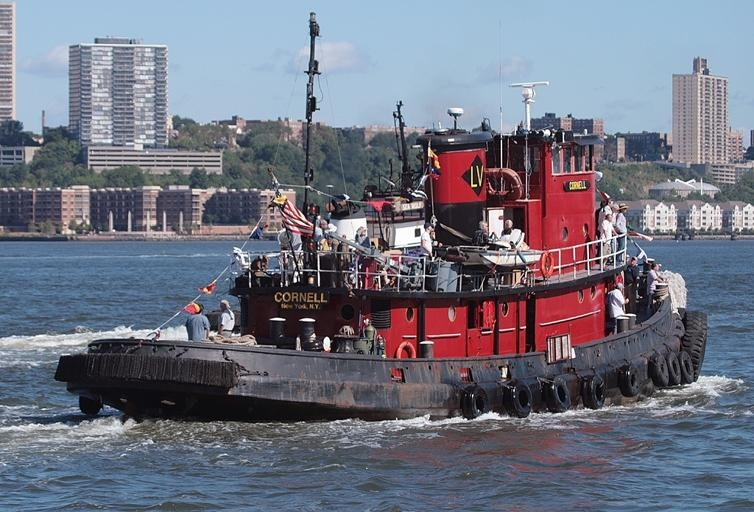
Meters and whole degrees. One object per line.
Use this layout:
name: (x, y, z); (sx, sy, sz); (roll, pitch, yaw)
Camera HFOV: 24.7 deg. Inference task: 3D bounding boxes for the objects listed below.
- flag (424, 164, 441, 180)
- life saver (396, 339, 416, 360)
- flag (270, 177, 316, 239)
flag: (2.077, -3.123, 64.541); (0.382, 0.566, 0.572); (2, -9, -14)
life saver: (1.020, 3.354, 62.872); (0.789, 0.564, 0.250); (-1, -1, -35)
flag: (-3.095, -1.677, 63.210); (1.699, 1.866, 0.791); (-1, -1, -41)
